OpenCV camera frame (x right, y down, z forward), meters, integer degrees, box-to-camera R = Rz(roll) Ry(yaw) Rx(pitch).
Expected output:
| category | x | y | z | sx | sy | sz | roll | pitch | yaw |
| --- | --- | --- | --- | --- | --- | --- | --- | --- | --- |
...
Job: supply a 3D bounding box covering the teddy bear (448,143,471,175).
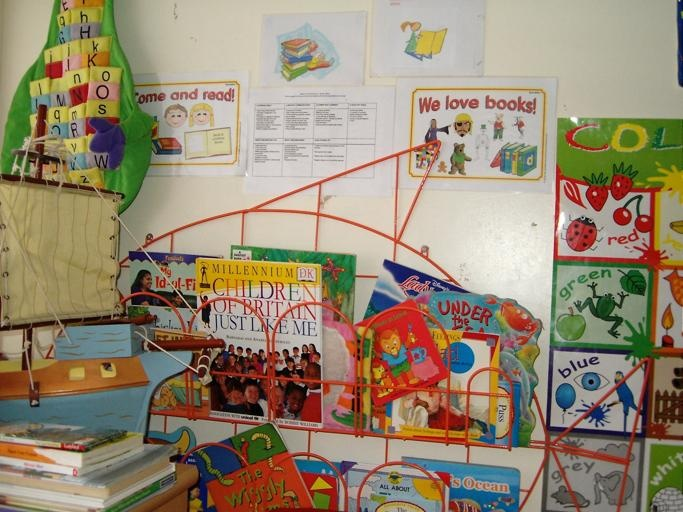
| category | x | y | z | sx | sy | sz | roll | pitch | yaw |
| --- | --- | --- | --- | --- | --- | --- | --- | --- | --- |
| teddy bear | 0.322 | -0.259 | 2.004 | 0.076 | 0.109 | 0.054 | 0 | -2 | -6 |
